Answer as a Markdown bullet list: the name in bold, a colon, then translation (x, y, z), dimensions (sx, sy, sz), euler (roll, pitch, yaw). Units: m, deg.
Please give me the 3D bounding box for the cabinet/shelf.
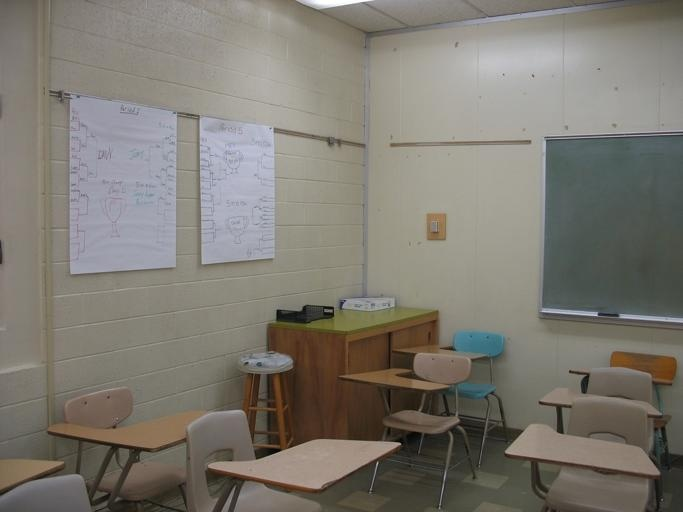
- **cabinet/shelf**: translation (0.235, 1.482, 4.938), dimensions (0.923, 1.400, 1.889), euler (-1, -1, 28)
